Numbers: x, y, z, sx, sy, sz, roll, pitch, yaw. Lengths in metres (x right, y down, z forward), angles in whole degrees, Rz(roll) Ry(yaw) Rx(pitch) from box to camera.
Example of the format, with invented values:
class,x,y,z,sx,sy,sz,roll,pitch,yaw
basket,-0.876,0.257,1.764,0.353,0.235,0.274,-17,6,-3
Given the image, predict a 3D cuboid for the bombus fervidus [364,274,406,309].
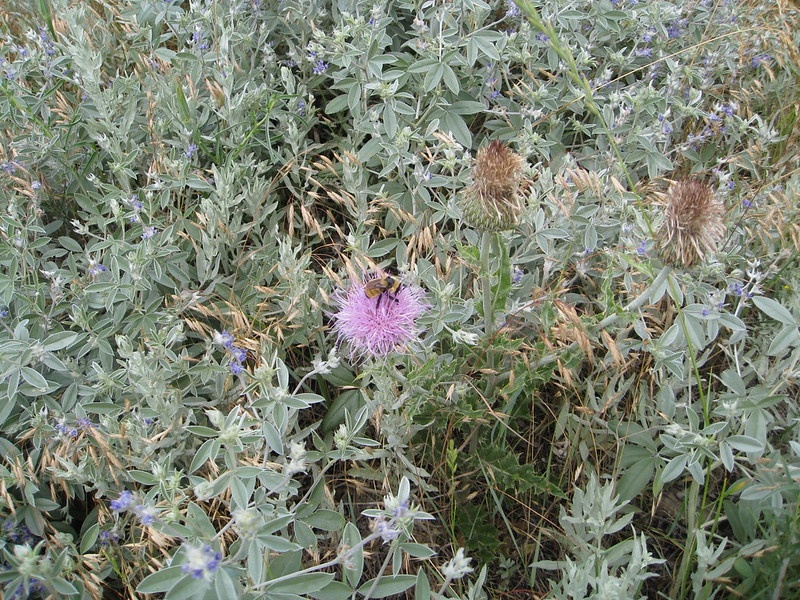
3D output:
class,x,y,z,sx,sy,sz,roll,pitch,yaw
bombus fervidus,-0.090,-0.042,3.347,0.138,0.213,0.062,5,28,0
